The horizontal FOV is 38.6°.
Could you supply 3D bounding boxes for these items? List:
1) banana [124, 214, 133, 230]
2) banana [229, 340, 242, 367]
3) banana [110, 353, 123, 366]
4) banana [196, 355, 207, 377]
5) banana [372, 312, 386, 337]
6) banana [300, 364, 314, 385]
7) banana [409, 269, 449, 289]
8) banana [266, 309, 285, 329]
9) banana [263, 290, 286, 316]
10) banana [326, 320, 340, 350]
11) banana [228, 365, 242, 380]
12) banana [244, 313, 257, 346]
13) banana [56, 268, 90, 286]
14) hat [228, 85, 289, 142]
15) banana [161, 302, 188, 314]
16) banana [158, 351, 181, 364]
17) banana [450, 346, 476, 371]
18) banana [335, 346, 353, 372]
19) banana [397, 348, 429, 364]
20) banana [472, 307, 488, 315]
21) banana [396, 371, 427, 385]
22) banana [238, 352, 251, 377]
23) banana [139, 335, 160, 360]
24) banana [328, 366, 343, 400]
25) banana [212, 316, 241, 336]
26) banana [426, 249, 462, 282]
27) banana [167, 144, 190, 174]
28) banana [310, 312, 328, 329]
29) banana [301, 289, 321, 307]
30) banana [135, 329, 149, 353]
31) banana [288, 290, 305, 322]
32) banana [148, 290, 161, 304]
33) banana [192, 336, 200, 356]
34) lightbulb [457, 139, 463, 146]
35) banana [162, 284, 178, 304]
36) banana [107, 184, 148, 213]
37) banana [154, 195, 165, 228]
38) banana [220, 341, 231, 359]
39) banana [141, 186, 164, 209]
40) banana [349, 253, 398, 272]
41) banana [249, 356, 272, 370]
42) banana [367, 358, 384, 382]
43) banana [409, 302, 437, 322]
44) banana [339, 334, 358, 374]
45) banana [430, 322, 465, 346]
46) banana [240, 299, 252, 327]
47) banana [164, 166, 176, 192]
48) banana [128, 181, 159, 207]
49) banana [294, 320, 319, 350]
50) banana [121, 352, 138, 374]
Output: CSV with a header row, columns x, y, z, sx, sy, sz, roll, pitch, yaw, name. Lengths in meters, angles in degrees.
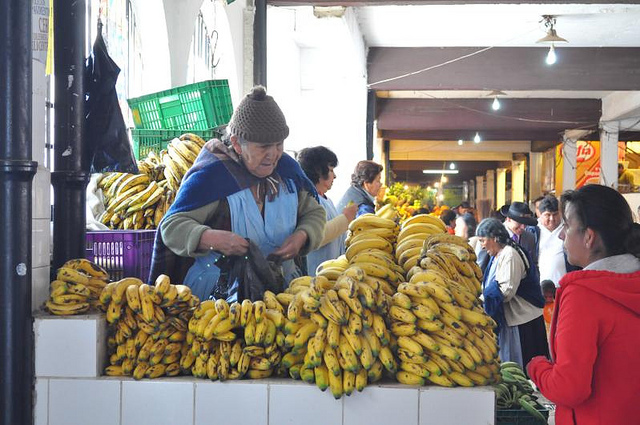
x,y,z,sx,sy,sz,roll,pitch,yaw,name
-1.605,0.079,7.656,0.041,0.153,0.050,25,-14,-21,banana
-0.607,1.024,6.572,0.054,0.201,0.059,11,-11,11,banana
-1.495,1.099,6.700,0.060,0.093,0.042,14,17,-2,banana
-0.858,1.123,6.592,0.045,0.157,0.071,-2,-21,-31,banana
0.421,0.802,6.462,0.058,0.209,0.059,-9,-30,7,banana
-0.097,1.171,6.519,0.073,0.147,0.083,-17,-11,-7,banana
0.788,0.470,6.570,0.152,0.064,0.155,9,30,-10,banana
-0.319,0.759,6.550,0.080,0.164,0.059,-33,-20,-13,banana
-0.349,0.654,6.704,0.076,0.097,0.277,12,17,-34,banana
0.089,0.869,6.441,0.059,0.240,0.068,10,-15,-38,banana
-0.623,1.159,6.623,0.069,0.122,0.059,-38,-8,2,banana
-0.494,0.848,6.552,0.054,0.232,0.069,10,-13,-9,banana
-1.830,0.479,6.822,0.219,0.125,0.077,8,-10,5,banana
-0.465,-0.744,6.904,0.384,0.339,0.387,10,12,39,hat
-1.065,0.695,6.632,0.129,0.050,0.039,-15,32,-4,banana
-1.085,1.073,6.657,0.173,0.067,0.055,-20,34,-21,banana
1.010,1.034,6.456,0.043,0.158,0.053,-26,-15,-44,banana
0.169,1.052,6.493,0.071,0.260,0.065,-17,-9,-6,banana
0.650,1.043,6.471,0.181,0.112,0.066,28,15,25,banana
1.172,0.730,6.643,0.056,0.044,0.175,-2,-8,29,banana
0.651,1.168,6.505,0.176,0.072,0.094,12,-47,17,banana
-0.550,1.102,6.554,0.062,0.163,0.049,10,-9,5,banana
-1.250,0.991,6.620,0.065,0.246,0.076,44,-33,-16,banana
0.114,1.239,6.517,0.075,0.263,0.069,-11,-9,15,banana
-0.681,0.817,6.531,0.163,0.055,0.056,-29,27,-16,banana
0.899,0.398,6.665,0.057,0.241,0.045,-29,7,-5,banana
-1.203,-0.459,7.831,0.076,0.280,0.068,-31,-16,-38,banana
-0.013,0.769,6.514,0.147,0.076,0.051,43,33,23,banana
-0.067,0.609,6.477,0.136,0.075,0.047,39,-17,43,banana
-1.303,0.932,6.642,0.066,0.222,0.055,2,-24,28,banana
-0.169,0.690,6.514,0.071,0.257,0.061,31,-36,-34,banana
-1.186,0.614,6.577,0.091,0.052,0.032,47,-24,-7,banana
-0.893,0.982,6.581,0.047,0.117,0.034,-2,-7,31,banana
3.739,-1.914,24.480,0.151,0.172,0.091,-19,-32,-10,lightbulb
-1.080,0.599,6.600,0.068,0.136,0.045,37,-36,-7,banana
-1.623,-0.111,7.688,0.051,0.263,0.071,35,-22,28,banana
-1.361,-0.012,7.811,0.091,0.289,0.068,23,-21,-38,banana
-0.685,0.992,6.574,0.053,0.123,0.036,-13,0,11,banana
-1.399,-0.132,7.769,0.085,0.280,0.094,49,-21,-28,banana
0.406,0.373,6.797,0.250,0.171,0.066,7,-17,-3,banana
-0.436,1.095,6.566,0.134,0.097,0.076,3,-3,6,banana
0.403,1.137,6.517,0.049,0.168,0.090,-4,-43,48,banana
0.725,0.709,6.466,0.255,0.086,0.085,26,-12,-36,banana
0.198,1.002,6.488,0.076,0.320,0.080,-21,-9,18,banana
0.885,0.876,6.461,0.286,0.080,0.099,43,-11,16,banana
-0.528,0.726,6.519,0.072,0.177,0.054,6,-18,-6,banana
-1.282,-0.294,7.824,0.062,0.273,0.062,-18,-11,19,banana
-1.500,-0.152,7.716,0.052,0.220,0.079,19,-30,35,banana
-0.100,0.881,6.496,0.070,0.206,0.065,29,-27,42,banana
-1.393,1.128,6.697,0.077,0.182,0.055,11,0,-2,banana
